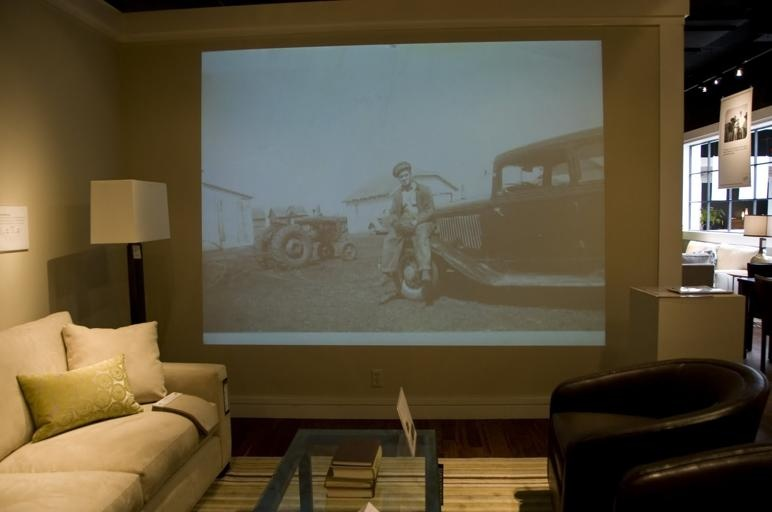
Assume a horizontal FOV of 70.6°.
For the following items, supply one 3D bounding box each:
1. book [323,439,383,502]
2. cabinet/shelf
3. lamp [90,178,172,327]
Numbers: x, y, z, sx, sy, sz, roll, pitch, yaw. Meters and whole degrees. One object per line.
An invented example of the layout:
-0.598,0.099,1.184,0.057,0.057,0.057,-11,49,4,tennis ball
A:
-0.205,1.326,3.387,0.310,0.273,0.236,-1,5,4,book
2.314,0.511,4.282,0.605,0.659,0.640,-1,1,3,cabinet/shelf
-2.022,-0.026,4.362,0.555,1.140,0.402,-4,6,-24,lamp
